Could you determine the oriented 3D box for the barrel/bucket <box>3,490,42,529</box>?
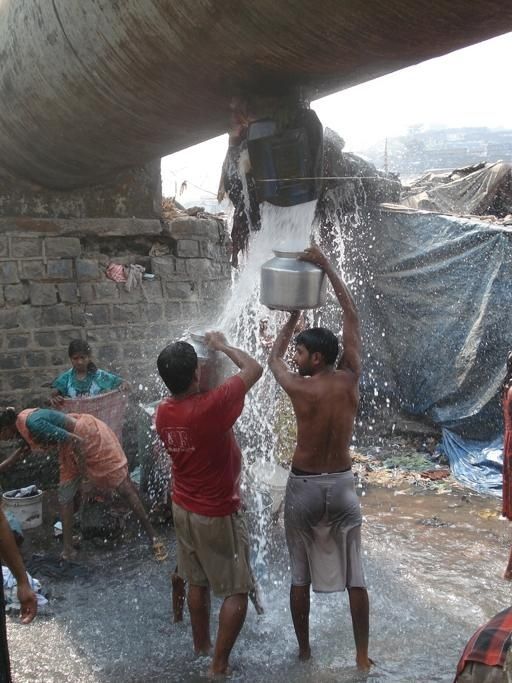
[{"bbox_3d":[-1.965,1.424,4.472,0.304,0.285,0.294,-1,0,0],"label":"barrel/bucket"}]

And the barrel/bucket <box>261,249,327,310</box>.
[{"bbox_3d":[0.172,-0.274,2.512,0.280,0.248,0.288,0,7,0],"label":"barrel/bucket"}]

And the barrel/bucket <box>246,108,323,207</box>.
[{"bbox_3d":[0.132,-0.870,2.558,0.379,0.392,0.316,-1,1,9],"label":"barrel/bucket"}]

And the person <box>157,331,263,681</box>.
[{"bbox_3d":[-0.234,0.781,2.644,0.484,1.652,0.366,0,2,42],"label":"person"}]

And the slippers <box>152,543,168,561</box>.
[{"bbox_3d":[-0.719,1.568,3.979,0.092,0.137,0.134,-12,0,-3],"label":"slippers"}]

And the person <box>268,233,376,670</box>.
[{"bbox_3d":[0.310,0.569,2.689,0.478,2.053,0.369,-1,1,5],"label":"person"}]
